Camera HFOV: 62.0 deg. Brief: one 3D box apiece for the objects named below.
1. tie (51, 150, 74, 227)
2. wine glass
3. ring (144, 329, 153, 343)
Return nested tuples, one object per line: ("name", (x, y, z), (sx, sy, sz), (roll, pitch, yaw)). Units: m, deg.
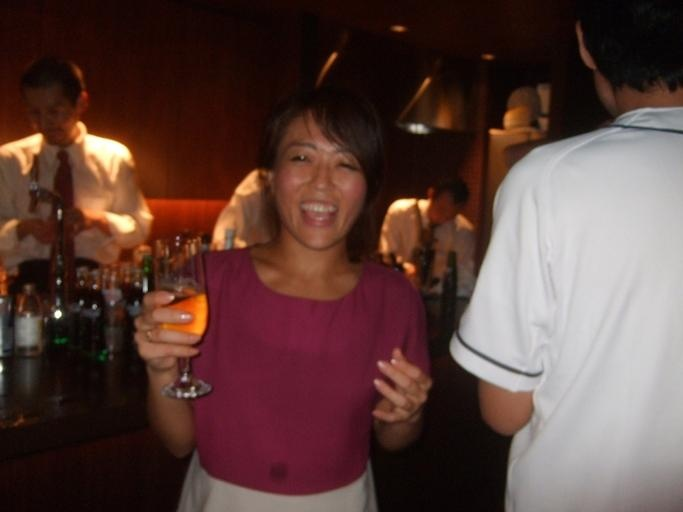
("tie", (-1.595, -0.445, 3.255), (0.092, 0.333, 0.210), (-4, 8, -19))
("wine glass", (-0.381, 0.169, 1.378), (0.119, 0.410, 0.205), (-4, 8, -19))
("ring", (-0.450, 0.186, 1.330), (0.011, 0.028, 0.020), (-4, -6, -41))
